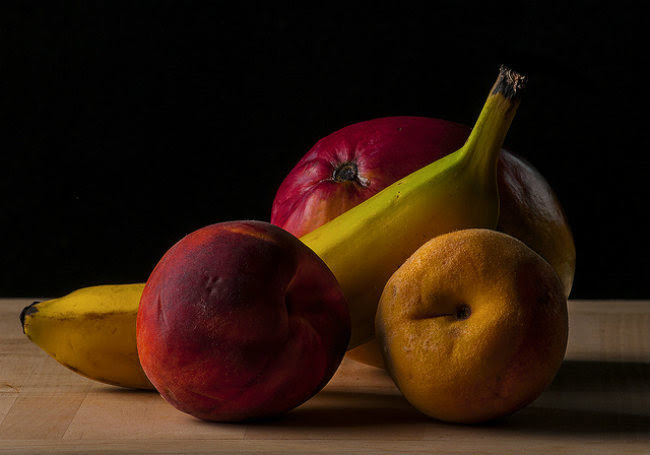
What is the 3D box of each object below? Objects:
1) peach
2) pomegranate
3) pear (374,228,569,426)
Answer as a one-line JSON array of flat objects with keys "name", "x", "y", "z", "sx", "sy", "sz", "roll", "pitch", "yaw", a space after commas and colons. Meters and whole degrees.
[{"name": "peach", "x": -0.075, "y": 0.090, "z": 0.681, "sx": 0.196, "sy": 0.139, "sz": 0.117, "roll": 0, "pitch": 35, "yaw": -5}, {"name": "pomegranate", "x": 0.109, "y": -0.022, "z": 0.826, "sx": 0.326, "sy": 0.186, "sz": 0.322, "roll": -7, "pitch": 42, "yaw": 18}, {"name": "pear", "x": 0.141, "y": 0.094, "z": 0.679, "sx": 0.171, "sy": 0.137, "sz": 0.113, "roll": 5, "pitch": 35, "yaw": 3}]
